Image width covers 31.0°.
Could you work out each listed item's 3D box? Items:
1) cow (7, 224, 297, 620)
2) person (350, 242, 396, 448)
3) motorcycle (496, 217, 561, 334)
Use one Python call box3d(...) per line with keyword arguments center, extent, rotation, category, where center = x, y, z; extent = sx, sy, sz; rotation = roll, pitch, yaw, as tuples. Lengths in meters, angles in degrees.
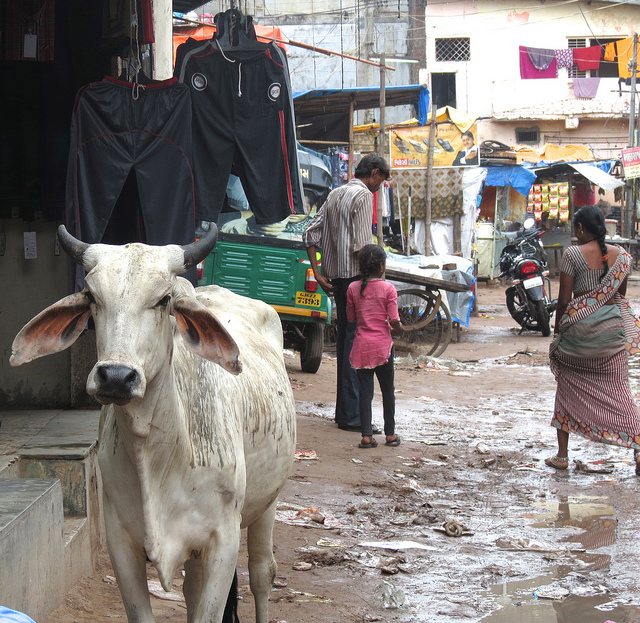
box3d(center=(-0.611, 0.564, 5.081), extent=(0.720, 1.863, 1.541), rotation=(2, 7, 17), category="cow")
box3d(center=(0.406, 0.253, 8.496), extent=(0.340, 1.500, 0.318), rotation=(-1, 6, -7), category="person")
box3d(center=(2.784, -0.285, 15.217), extent=(0.507, 1.294, 1.784), rotation=(-13, -7, 3), category="motorcycle")
